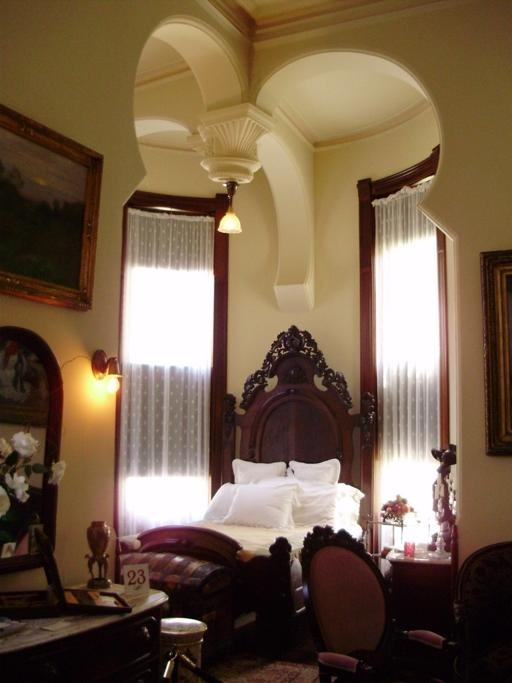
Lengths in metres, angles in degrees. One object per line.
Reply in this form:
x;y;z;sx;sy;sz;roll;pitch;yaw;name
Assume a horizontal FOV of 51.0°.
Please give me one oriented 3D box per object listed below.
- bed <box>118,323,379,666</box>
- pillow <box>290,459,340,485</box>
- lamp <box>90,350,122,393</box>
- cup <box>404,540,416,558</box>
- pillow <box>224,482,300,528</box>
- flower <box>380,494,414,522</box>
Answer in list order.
-0.022;1.146;4.951;1.555;3.055;2.318;-5;-12;28;bed
0.613;1.333;5.524;0.344;0.296;0.107;-4;-39;20;pillow
-0.804;0.159;2.882;0.127;0.314;0.178;-6;-7;26;lamp
1.172;1.586;4.119;0.076;0.098;0.085;-1;-1;20;cup
0.047;1.490;4.838;0.358;0.145;0.461;-5;27;19;pillow
1.187;1.416;4.534;0.193;0.240;0.238;-8;-11;33;flower
